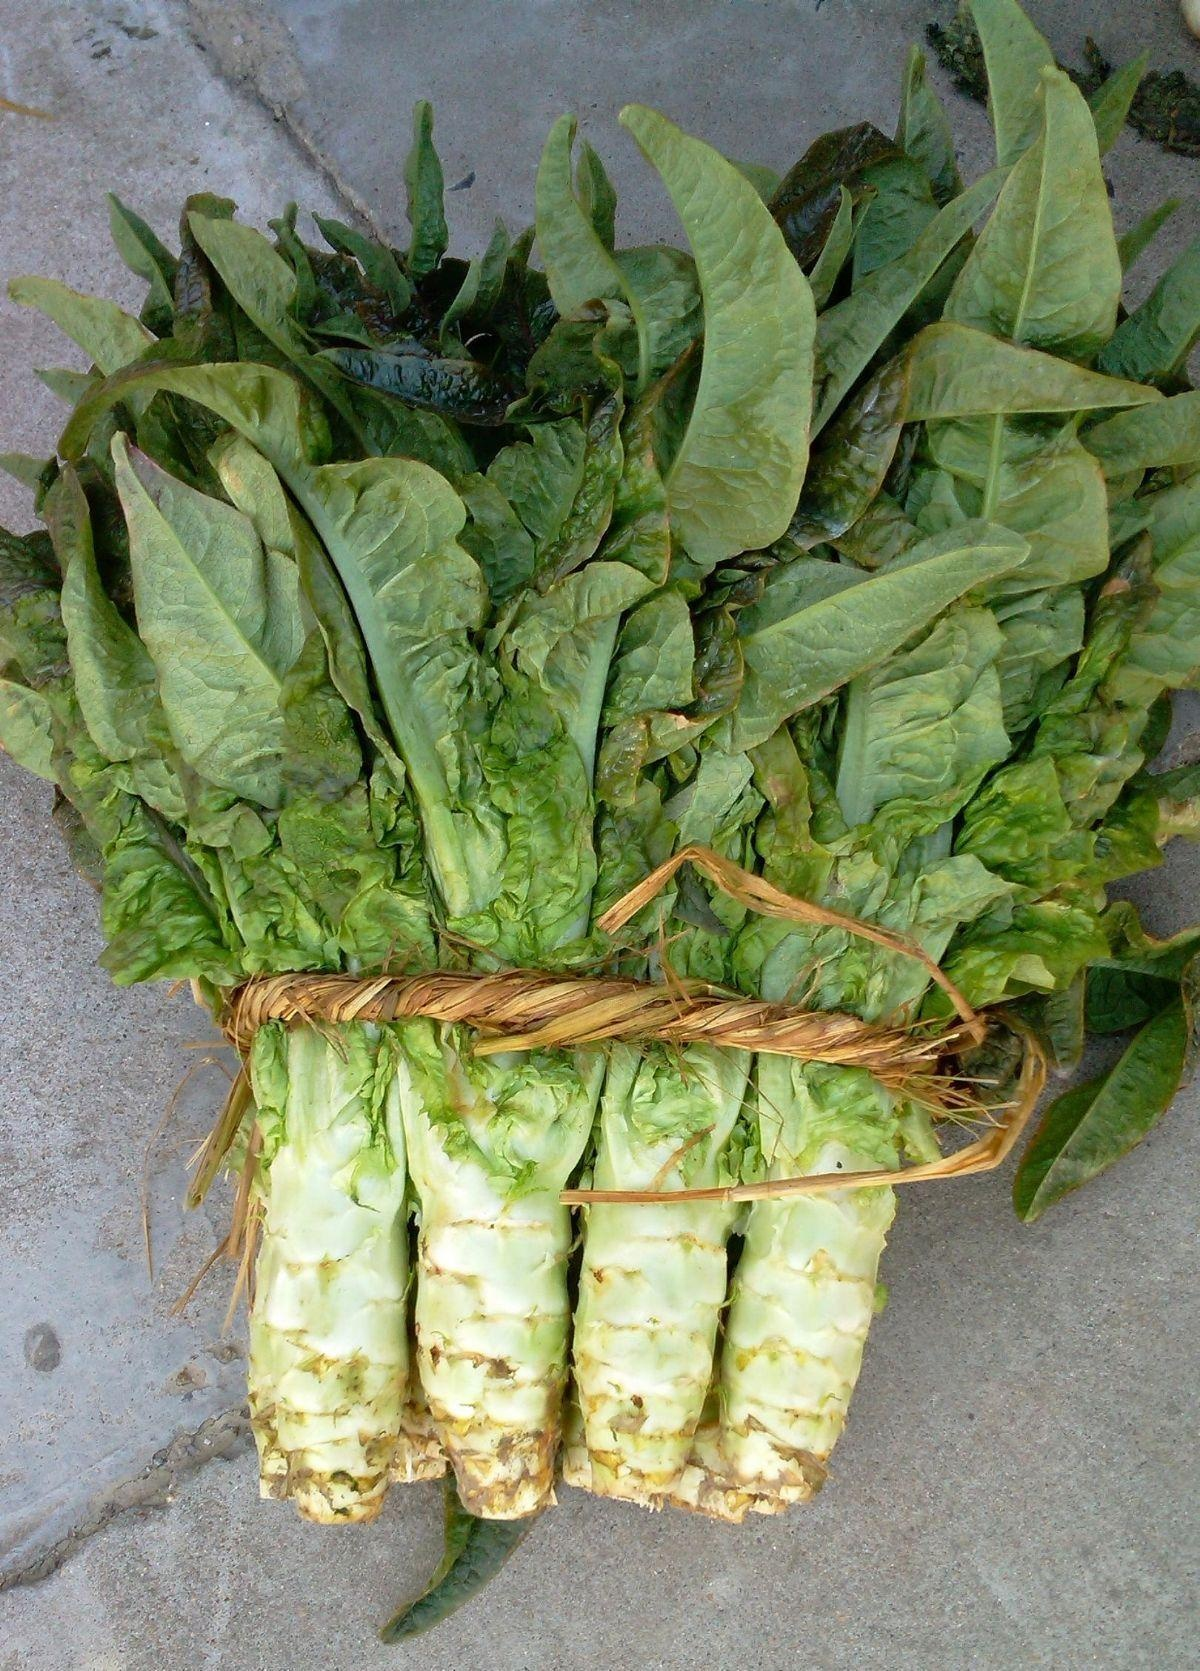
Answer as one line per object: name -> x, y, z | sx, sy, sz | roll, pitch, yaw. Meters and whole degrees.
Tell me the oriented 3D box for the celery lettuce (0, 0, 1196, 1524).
celery lettuce -> -0.003, -0.033, 1.511 | 1.158, 0.478, 1.155 | 2, 86, -5
